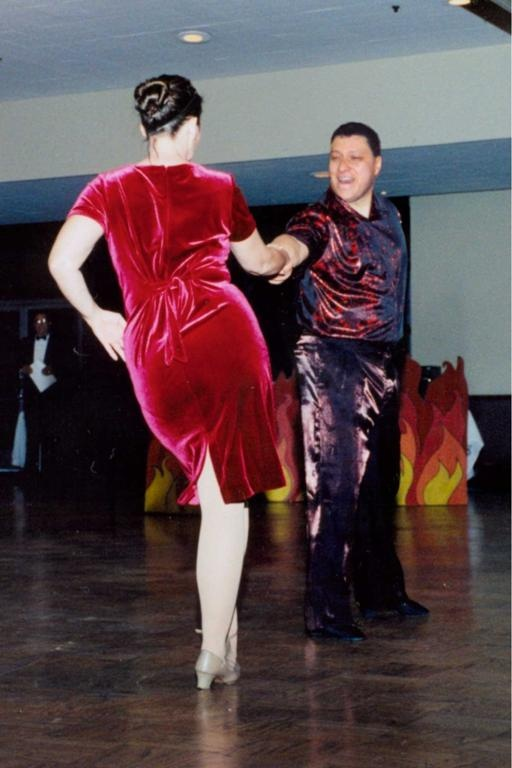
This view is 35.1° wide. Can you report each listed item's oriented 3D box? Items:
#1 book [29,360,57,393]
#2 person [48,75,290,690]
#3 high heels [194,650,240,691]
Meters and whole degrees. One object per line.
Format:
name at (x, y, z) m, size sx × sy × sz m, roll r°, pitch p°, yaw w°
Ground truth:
book at (-1.852, -0.066, 6.919) m, size 0.237 × 0.235 × 0.069 m, roll -38°, pitch 7°, yaw 20°
person at (-0.091, 0.089, 1.513) m, size 0.451 × 0.983 × 0.282 m, roll -11°, pitch 17°, yaw -14°
high heels at (-0.061, 0.537, 1.548) m, size 0.050 × 0.063 × 0.130 m, roll 3°, pitch 0°, yaw 16°
